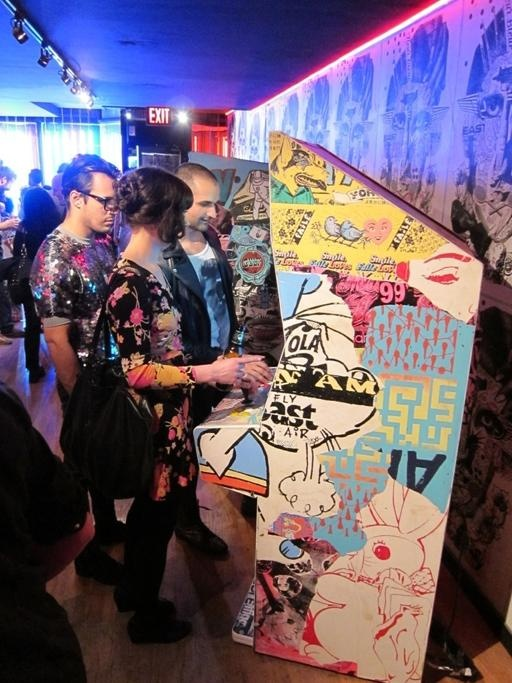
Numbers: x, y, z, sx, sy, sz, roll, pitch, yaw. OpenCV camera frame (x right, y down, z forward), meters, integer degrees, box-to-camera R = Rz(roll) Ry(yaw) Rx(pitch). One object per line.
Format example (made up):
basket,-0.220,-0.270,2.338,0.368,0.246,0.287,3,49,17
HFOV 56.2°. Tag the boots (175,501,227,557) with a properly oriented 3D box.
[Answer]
boots,-0.244,0.819,2.136,0.283,0.193,0.107,13,11,35

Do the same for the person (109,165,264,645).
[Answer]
person,-0.151,0.194,1.556,0.491,1.432,0.454,1,19,9
